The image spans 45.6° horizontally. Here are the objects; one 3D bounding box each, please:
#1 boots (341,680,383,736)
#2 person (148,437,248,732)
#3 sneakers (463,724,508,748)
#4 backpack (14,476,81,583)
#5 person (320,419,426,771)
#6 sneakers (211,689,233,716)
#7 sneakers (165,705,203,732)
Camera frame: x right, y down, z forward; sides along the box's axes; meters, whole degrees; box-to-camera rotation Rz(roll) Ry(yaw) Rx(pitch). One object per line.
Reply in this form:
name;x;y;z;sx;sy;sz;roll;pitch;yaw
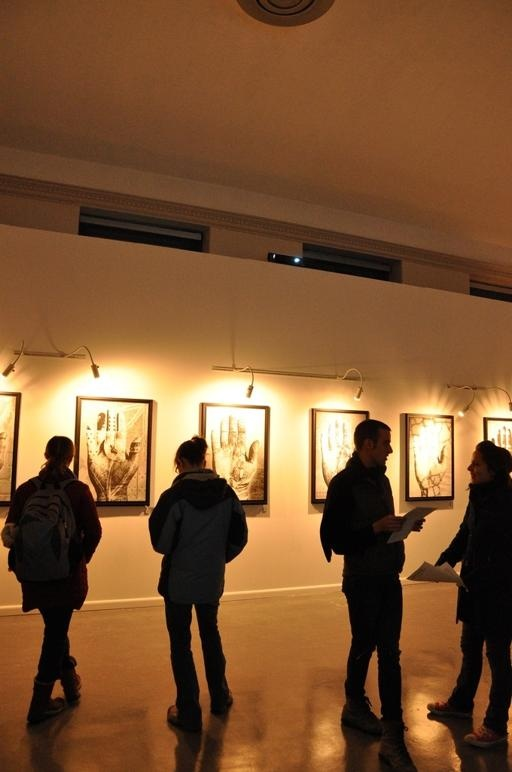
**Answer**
boots;0.547;1.792;3.338;0.282;0.218;0.105;8;-11;15
person;-0.332;1.070;3.395;0.583;1.576;0.313;8;-11;-44
sneakers;1.158;1.790;3.143;0.261;0.127;0.092;6;-7;-4
backpack;-1.149;0.765;3.346;0.306;0.537;0.307;2;-3;6
person;0.590;1.009;3.163;0.470;1.664;0.571;-2;-8;19
sneakers;-0.193;1.833;3.537;0.060;0.131;0.184;0;2;8
sneakers;-0.398;1.817;3.330;0.087;0.110;0.247;4;0;-29
